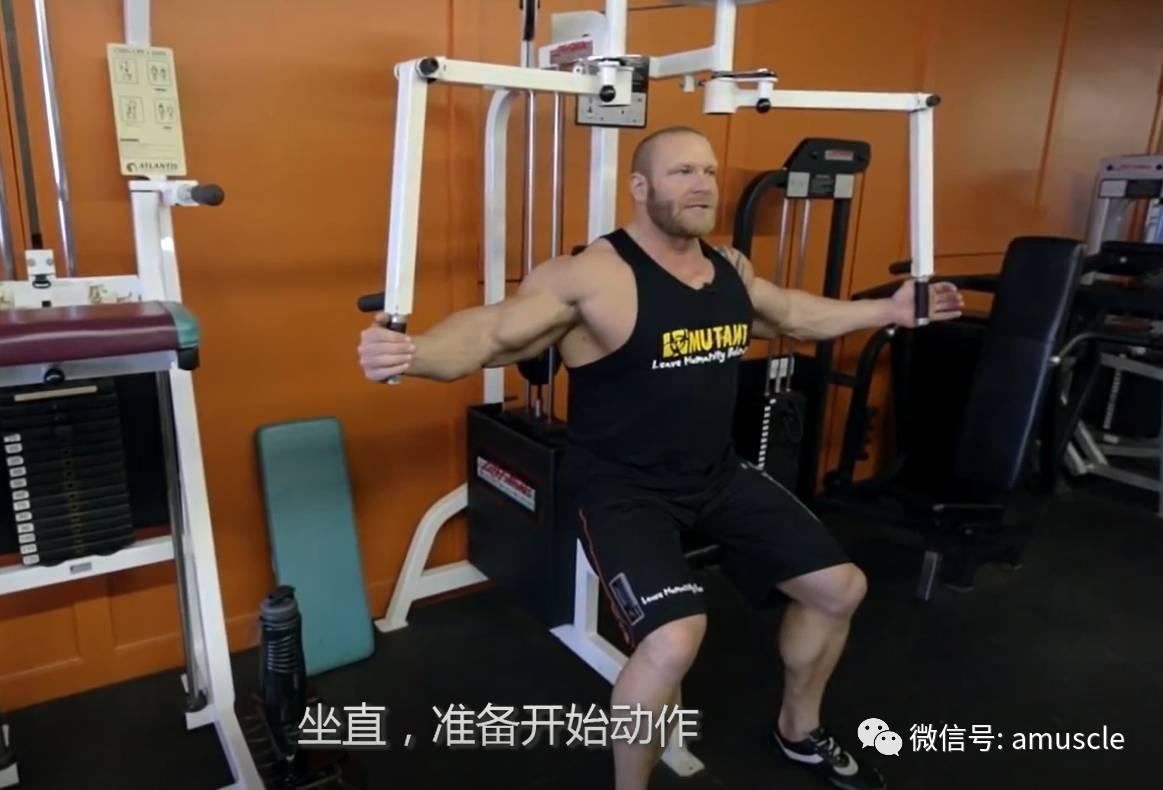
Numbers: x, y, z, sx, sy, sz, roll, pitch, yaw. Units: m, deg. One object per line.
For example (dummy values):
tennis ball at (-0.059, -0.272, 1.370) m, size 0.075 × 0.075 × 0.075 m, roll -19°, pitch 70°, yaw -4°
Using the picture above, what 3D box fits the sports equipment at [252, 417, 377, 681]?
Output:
sports equipment at (-0.829, 0.469, 2.668) m, size 0.060 × 0.780 × 0.284 m, roll -6°, pitch 2°, yaw 44°

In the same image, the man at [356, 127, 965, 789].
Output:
man at (0.184, 0.233, 2.585) m, size 1.875 × 1.810 × 0.773 m, roll -5°, pitch 7°, yaw -28°

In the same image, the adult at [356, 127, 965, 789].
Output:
adult at (0.184, 0.233, 2.585) m, size 1.875 × 1.810 × 0.773 m, roll -5°, pitch 7°, yaw -28°

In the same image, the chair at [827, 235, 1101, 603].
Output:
chair at (1.226, 0.014, 2.726) m, size 0.688 × 1.044 × 0.630 m, roll 4°, pitch 10°, yaw -39°
